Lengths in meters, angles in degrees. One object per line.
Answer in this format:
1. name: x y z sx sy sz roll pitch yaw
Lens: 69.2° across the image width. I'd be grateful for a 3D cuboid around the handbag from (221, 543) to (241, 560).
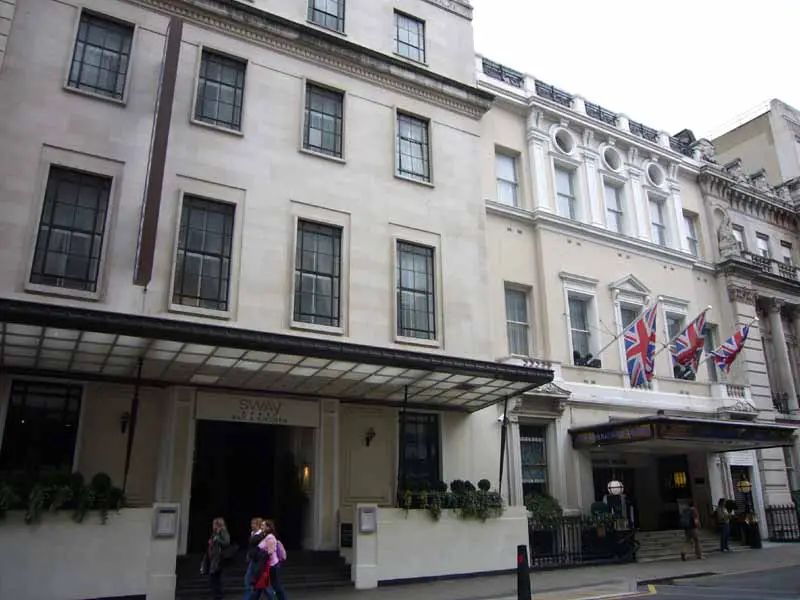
1. handbag: -4.041 6.129 14.036 0.319 0.378 0.353 -10 -19 27
